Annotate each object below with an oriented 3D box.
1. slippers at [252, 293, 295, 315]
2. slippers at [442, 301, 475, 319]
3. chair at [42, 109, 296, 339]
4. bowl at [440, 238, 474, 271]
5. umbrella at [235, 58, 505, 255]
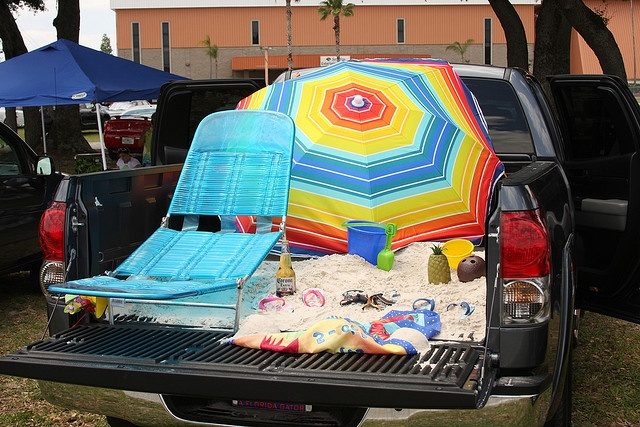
[{"bbox_3d":[-0.310,0.578,3.414,0.185,0.034,0.108,8,34,23],"label":"slippers"},{"bbox_3d":[0.880,0.582,3.275,0.109,0.041,0.109,-9,15,-29],"label":"slippers"},{"bbox_3d":[-0.850,0.025,3.540,1.051,1.249,1.921,2,13,16],"label":"chair"},{"bbox_3d":[1.060,0.292,4.100,0.237,0.142,0.222,-9,37,7],"label":"bowl"},{"bbox_3d":[0.617,-0.293,5.206,1.924,1.770,0.711,-15,-17,0],"label":"umbrella"}]
